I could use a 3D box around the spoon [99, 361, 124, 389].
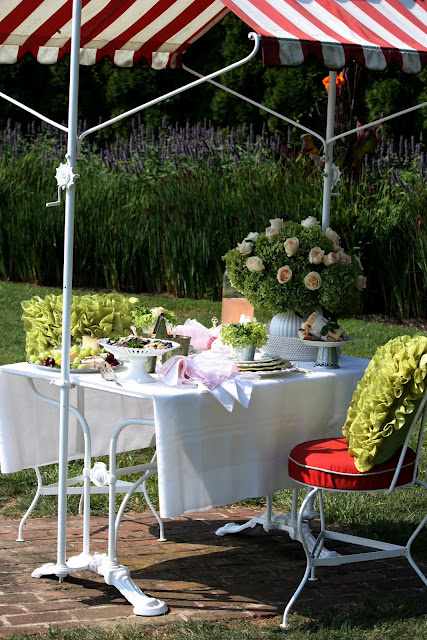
[{"bbox_3d":[-0.356,0.189,3.089,0.027,0.043,0.156,50,4,-29],"label":"spoon"}]

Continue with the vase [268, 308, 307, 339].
[{"bbox_3d":[0.311,0.011,3.732,0.123,0.110,0.118,2,-4,-10],"label":"vase"}]

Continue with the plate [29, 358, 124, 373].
[{"bbox_3d":[-0.507,0.146,3.279,0.238,0.061,0.319,2,5,45],"label":"plate"}]

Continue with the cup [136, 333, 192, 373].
[{"bbox_3d":[-0.169,0.122,3.319,0.128,0.100,0.139,0,6,0],"label":"cup"}]
